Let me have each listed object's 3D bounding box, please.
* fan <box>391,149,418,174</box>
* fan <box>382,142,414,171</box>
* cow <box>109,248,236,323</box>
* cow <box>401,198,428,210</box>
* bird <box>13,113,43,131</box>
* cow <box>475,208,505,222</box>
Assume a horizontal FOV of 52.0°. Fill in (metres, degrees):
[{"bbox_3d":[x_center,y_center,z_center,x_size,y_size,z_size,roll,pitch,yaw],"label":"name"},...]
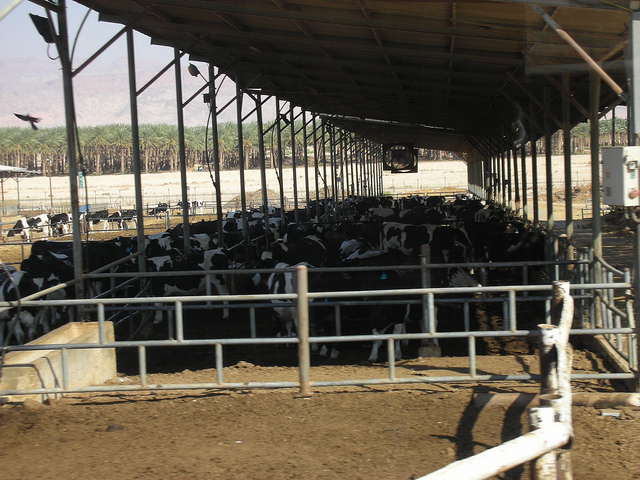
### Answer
[{"bbox_3d":[4.271,-3.958,33.121,1.300,1.244,3.071,0,11,6],"label":"fan"},{"bbox_3d":[3.687,-4.326,34.019,2.404,1.362,0.446,2,7,15],"label":"fan"},{"bbox_3d":[-2.889,0.797,14.143,3.222,1.073,0.682,-3,0,23],"label":"cow"},{"bbox_3d":[4.471,-1.786,32.343,1.100,0.368,1.476,1,5,10],"label":"cow"},{"bbox_3d":[-3.932,-1.588,8.826,0.290,0.202,1.067,-6,12,-23],"label":"bird"},{"bbox_3d":[6.029,-0.892,23.537,0.944,0.272,1.051,-7,-1,25],"label":"cow"}]
